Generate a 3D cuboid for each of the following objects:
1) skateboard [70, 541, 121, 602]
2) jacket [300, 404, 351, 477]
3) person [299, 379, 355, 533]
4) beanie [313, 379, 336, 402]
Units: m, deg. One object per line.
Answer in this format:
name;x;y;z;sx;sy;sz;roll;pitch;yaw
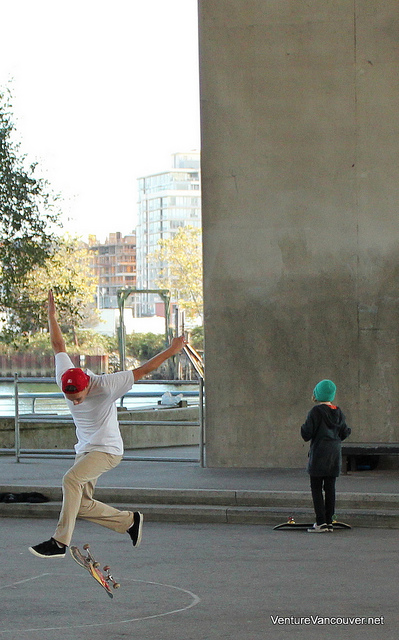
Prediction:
skateboard;-0.914;2.086;13.618;0.244;0.125;0.809;19;13;-30
jacket;1.288;1.251;16.226;0.429;1.166;0.344;3;11;-2
person;1.275;1.375;16.225;0.387;1.489;0.519;-1;3;35
beanie;1.288;0.731;16.426;0.199;0.220;0.279;-3;2;3
